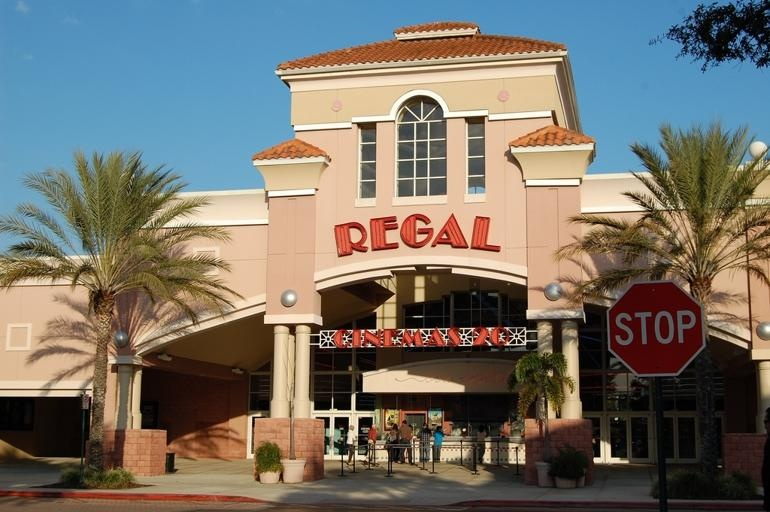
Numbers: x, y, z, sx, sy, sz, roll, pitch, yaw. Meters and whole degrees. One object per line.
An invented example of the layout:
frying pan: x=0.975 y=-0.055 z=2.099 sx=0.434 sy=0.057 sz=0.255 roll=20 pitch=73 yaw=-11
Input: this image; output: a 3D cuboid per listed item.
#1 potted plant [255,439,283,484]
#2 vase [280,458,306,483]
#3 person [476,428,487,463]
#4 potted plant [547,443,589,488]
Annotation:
potted plant: x=-4.448 y=7.910 z=37.020 sx=1.103 sy=1.601 sz=0.748 roll=-4 pitch=-12 yaw=13
vase: x=-3.486 y=8.279 z=36.985 sx=0.831 sy=0.625 sz=0.848 roll=-6 pitch=-18 yaw=27
person: x=4.586 y=8.848 z=45.127 sx=0.467 sy=1.644 sz=1.264 roll=-2 pitch=-12 yaw=5
potted plant: x=6.814 y=7.666 z=35.428 sx=1.357 sy=1.429 sz=1.385 roll=1 pitch=2 yaw=5
